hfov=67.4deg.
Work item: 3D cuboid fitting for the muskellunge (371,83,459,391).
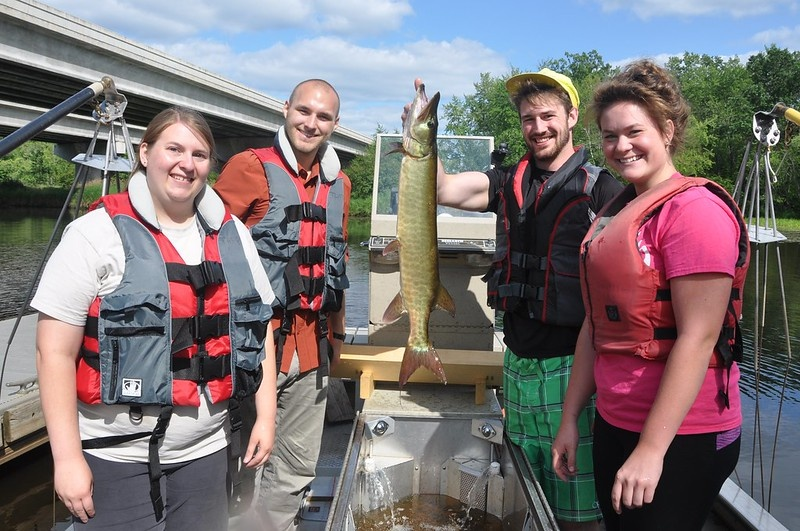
[{"bbox_3d":[0.132,-0.215,4.664,0.565,2.072,0.306,-1,12,-12],"label":"muskellunge"}]
